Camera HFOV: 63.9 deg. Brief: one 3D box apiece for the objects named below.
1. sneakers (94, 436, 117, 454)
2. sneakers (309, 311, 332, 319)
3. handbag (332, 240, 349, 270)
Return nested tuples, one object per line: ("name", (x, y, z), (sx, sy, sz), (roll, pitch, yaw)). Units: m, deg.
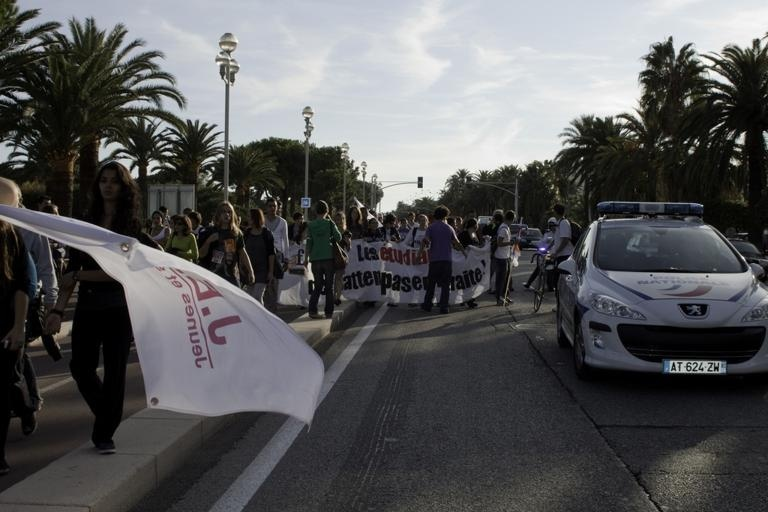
("sneakers", (-2.349, 1.603, 5.163), (0.086, 0.122, 0.246), (1, 6, -15))
("sneakers", (-1.244, 1.197, 12.097), (0.416, 0.190, 0.166), (-1, 2, -11))
("handbag", (-0.903, -0.020, 12.577), (0.234, 0.638, 0.581), (-7, -1, 0))
